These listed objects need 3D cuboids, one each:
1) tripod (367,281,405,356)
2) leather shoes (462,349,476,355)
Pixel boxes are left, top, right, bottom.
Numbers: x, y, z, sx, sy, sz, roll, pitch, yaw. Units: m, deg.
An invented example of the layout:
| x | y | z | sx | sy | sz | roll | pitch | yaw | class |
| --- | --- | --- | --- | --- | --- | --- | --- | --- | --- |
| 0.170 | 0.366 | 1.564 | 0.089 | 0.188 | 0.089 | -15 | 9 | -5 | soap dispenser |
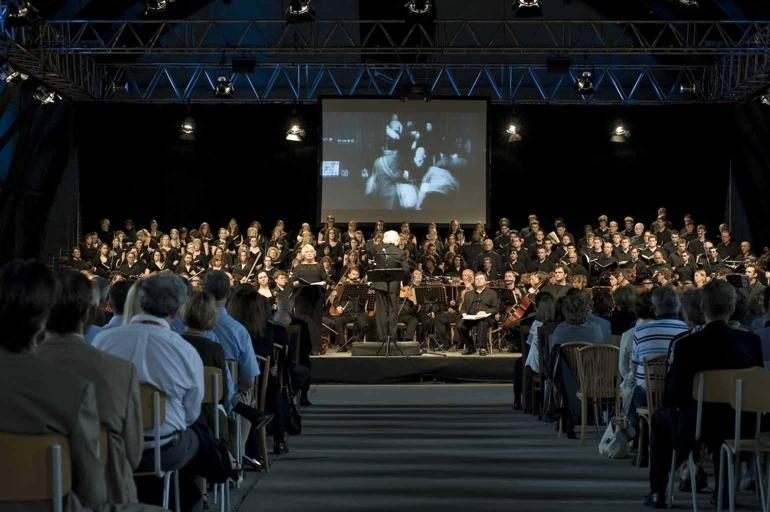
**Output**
| x | y | z | sx | sy | sz | roll | pitch | yaw | class |
| --- | --- | --- | --- | --- | --- | --- | --- | --- | --- |
| 0.011 | 1.041 | 14.384 | 0.477 | 1.176 | 0.452 | -1 | 7 | 11 | tripod |
| 1.398 | 1.594 | 14.234 | 0.195 | 0.082 | 0.083 | 2 | -3 | -12 | leather shoes |
